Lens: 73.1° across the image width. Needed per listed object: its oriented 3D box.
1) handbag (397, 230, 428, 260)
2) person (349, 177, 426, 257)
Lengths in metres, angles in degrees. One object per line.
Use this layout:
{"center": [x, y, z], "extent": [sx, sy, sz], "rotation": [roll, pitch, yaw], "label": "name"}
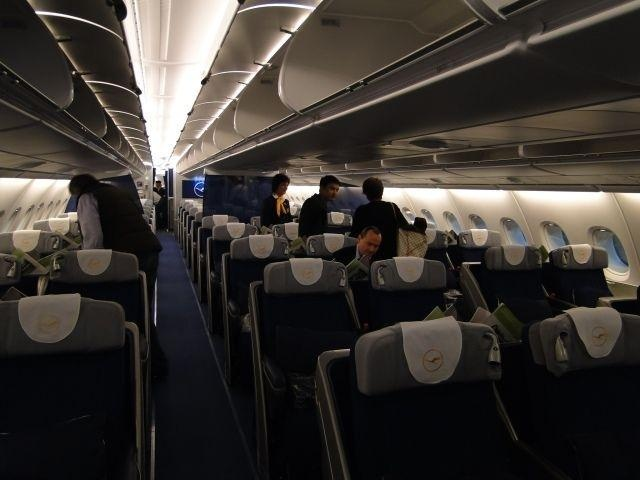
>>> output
{"center": [0.987, 0.076, 4.722], "extent": [0.315, 0.325, 0.286], "rotation": [10, -19, -23], "label": "handbag"}
{"center": [0.746, -0.021, 4.928], "extent": [0.880, 1.413, 0.462], "rotation": [-1, 17, 17], "label": "person"}
